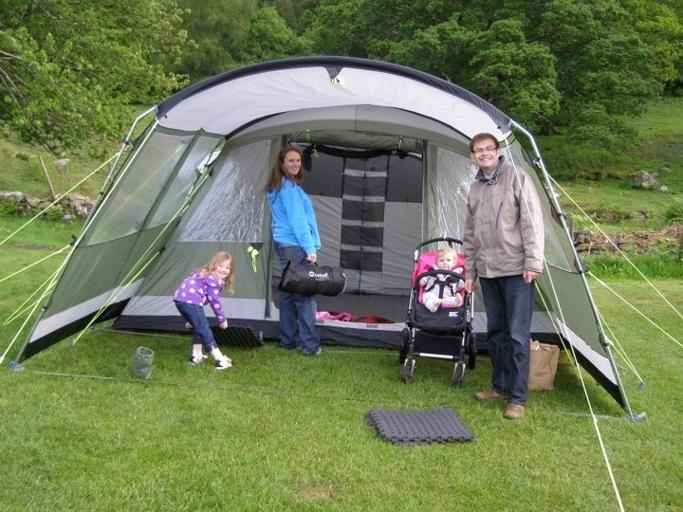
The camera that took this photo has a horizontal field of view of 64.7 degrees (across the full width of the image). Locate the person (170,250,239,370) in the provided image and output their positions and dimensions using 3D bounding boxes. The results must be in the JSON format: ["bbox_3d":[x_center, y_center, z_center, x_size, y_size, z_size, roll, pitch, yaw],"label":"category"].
[{"bbox_3d":[-1.274,0.511,5.109,0.552,1.050,0.602,-3,10,-26],"label":"person"}]

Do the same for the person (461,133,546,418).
[{"bbox_3d":[1.329,0.132,4.413,0.385,2.212,0.780,-3,10,-30],"label":"person"}]

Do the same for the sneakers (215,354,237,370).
[{"bbox_3d":[-1.079,1.008,5.075,0.071,0.096,0.218,1,1,16],"label":"sneakers"}]

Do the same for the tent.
[{"bbox_3d":[-0.308,-0.764,6.874,4.190,2.576,4.435,1,2,5],"label":"tent"}]

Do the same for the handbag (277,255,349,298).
[{"bbox_3d":[-0.270,0.269,5.351,0.768,0.316,0.412,7,34,-24],"label":"handbag"}]

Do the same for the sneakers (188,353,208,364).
[{"bbox_3d":[-1.356,0.971,5.176,0.064,0.094,0.201,6,8,26],"label":"sneakers"}]

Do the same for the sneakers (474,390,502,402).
[{"bbox_3d":[1.264,1.185,4.609,0.222,0.097,0.091,3,1,3],"label":"sneakers"}]

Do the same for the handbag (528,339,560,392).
[{"bbox_3d":[1.810,0.998,4.815,0.282,0.519,0.494,5,3,26],"label":"handbag"}]
